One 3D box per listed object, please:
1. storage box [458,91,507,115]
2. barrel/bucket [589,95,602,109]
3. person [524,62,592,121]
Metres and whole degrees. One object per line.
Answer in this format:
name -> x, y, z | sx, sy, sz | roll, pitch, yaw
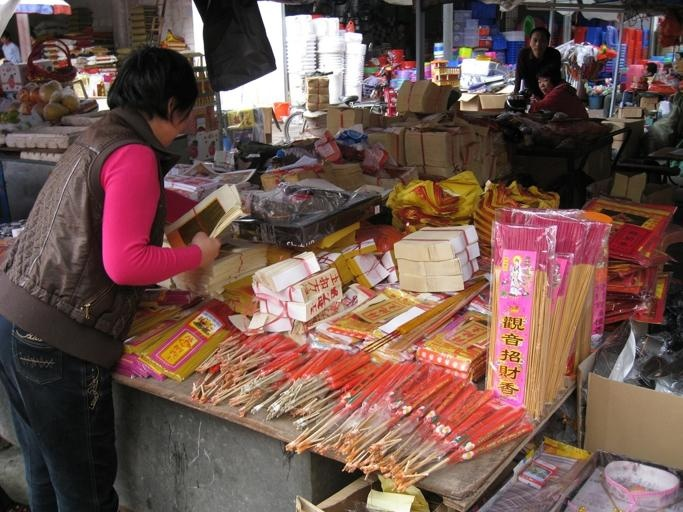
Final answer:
storage box -> 3.259, -3.578, 11.464 | 0.993, 0.403, 1.179 | -14, 20, -41
barrel/bucket -> 7.847, -4.747, 15.339 | 0.565, 0.296, 0.467 | 0, 5, 8
person -> 2.609, -1.977, 5.907 | 0.652, 0.675, 1.598 | 6, 17, 20
